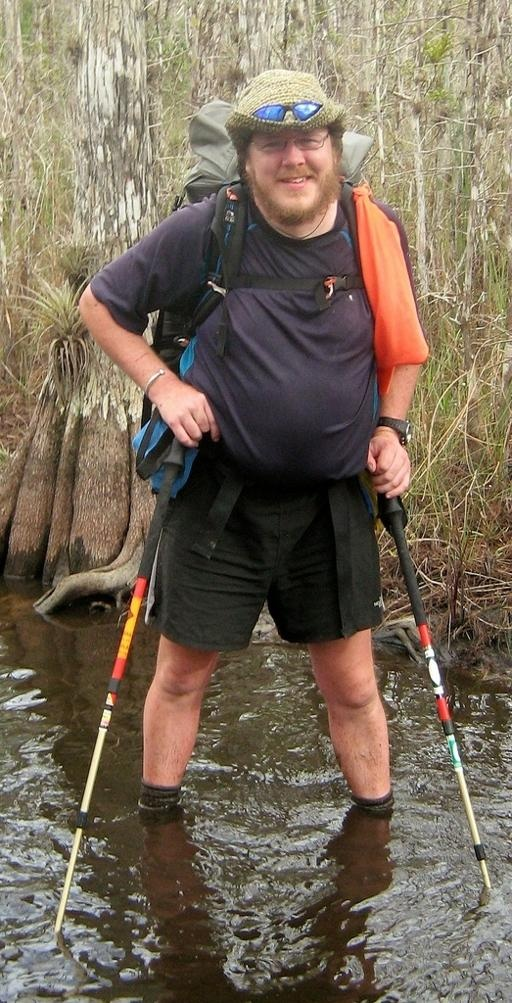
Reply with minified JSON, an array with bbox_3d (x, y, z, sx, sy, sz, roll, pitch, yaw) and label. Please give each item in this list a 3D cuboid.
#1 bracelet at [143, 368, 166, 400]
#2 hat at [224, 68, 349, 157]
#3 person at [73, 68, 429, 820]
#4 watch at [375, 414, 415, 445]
[{"bbox_3d":[-0.288,-0.327,2.307,0.025,0.072,0.056,41,22,7],"label":"bracelet"},{"bbox_3d":[0.070,-0.962,2.143,0.219,0.150,0.233,-4,10,0],"label":"hat"},{"bbox_3d":[0.020,-0.058,2.338,0.907,2.184,0.481,1,8,11],"label":"person"},{"bbox_3d":[0.416,-0.210,2.442,0.092,0.106,0.067,19,58,7],"label":"watch"}]
